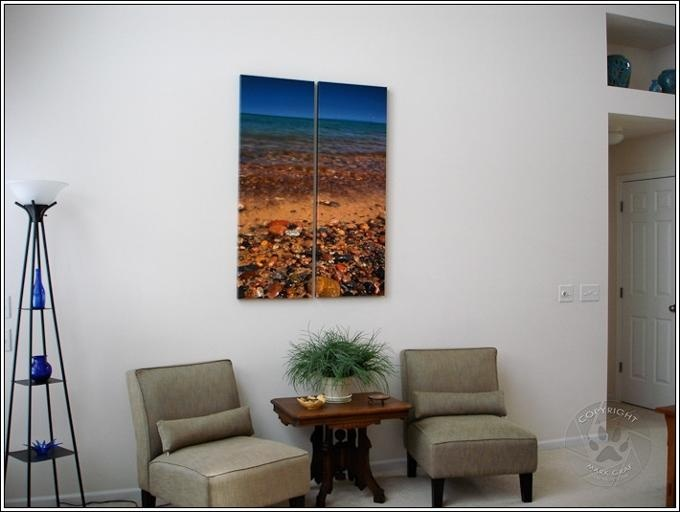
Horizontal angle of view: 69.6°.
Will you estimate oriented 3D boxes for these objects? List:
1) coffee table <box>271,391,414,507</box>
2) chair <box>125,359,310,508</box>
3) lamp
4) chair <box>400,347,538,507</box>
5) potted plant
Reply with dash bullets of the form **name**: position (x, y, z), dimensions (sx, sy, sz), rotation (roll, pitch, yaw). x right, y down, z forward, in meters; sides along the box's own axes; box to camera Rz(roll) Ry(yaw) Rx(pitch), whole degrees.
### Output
- **coffee table**: position (-0.001, 1.096, 3.273), dimensions (1.037, 0.783, 0.623), rotation (2, -5, -21)
- **chair**: position (-0.679, 1.023, 3.151), dimensions (0.847, 1.071, 1.045), rotation (4, -9, -44)
- **lamp**: position (-1.765, 0.579, 2.843), dimensions (0.416, 2.194, 0.557), rotation (-3, 1, -28)
- **chair**: position (0.633, 1.111, 3.467), dimensions (0.824, 1.018, 0.989), rotation (1, -10, -7)
- **potted plant**: position (0.004, 0.727, 3.331), dimensions (0.572, 0.383, 0.564), rotation (4, -6, -13)
